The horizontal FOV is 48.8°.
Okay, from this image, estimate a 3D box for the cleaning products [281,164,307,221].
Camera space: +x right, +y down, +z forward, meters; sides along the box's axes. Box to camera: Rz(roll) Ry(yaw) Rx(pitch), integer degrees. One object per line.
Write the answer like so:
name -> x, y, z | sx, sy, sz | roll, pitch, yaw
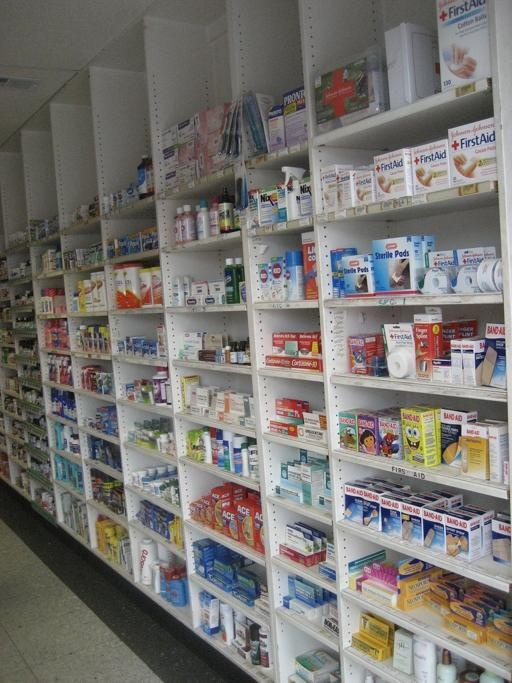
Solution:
cleaning products -> 0.149, -0.556, 2.107 | 0.088, 0.169, 0.102 | -7, 3, 4
